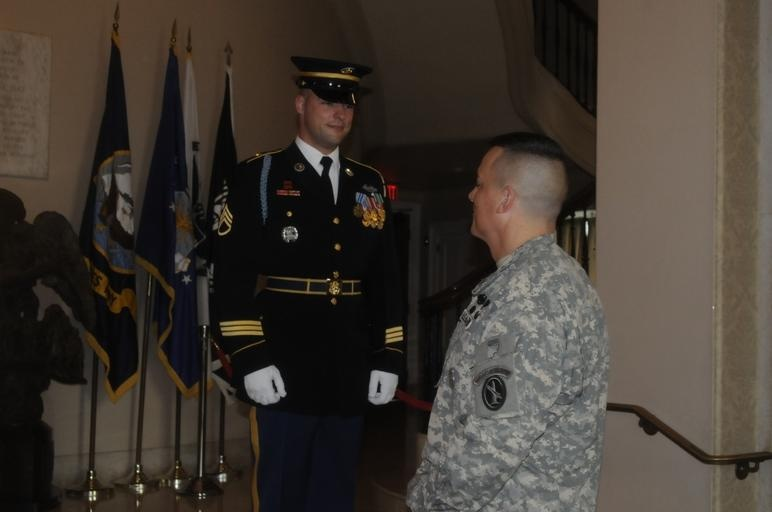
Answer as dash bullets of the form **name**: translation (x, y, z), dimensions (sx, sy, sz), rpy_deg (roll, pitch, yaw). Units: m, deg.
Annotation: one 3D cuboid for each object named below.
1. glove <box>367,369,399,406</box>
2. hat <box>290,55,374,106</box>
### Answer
- **glove**: translation (-0.020, 0.644, 4.731), dimensions (0.157, 0.158, 0.058), rpy_deg (2, -3, -9)
- **hat**: translation (-0.298, -0.975, 4.896), dimensions (0.309, 0.170, 0.319), rpy_deg (14, 14, -35)
